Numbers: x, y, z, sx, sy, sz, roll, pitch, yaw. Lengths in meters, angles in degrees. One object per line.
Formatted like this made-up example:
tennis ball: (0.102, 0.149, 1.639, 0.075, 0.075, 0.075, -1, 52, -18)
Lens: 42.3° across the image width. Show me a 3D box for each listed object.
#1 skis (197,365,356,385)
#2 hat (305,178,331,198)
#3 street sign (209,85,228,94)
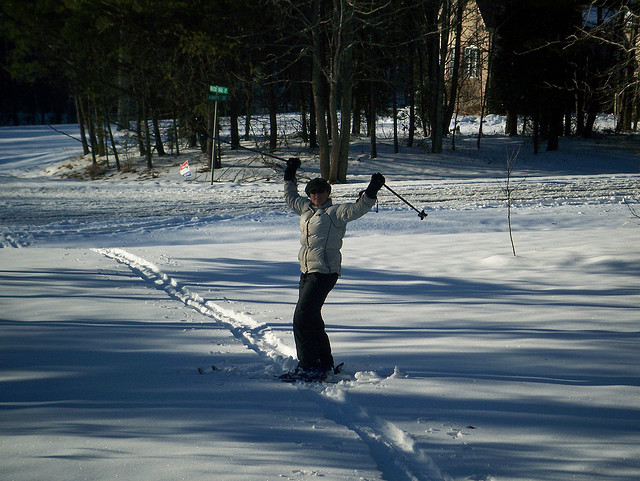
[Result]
skis: (-0.743, 2.225, 13.740, 2.426, 0.164, 0.254, 0, 17, 1)
hat: (-0.061, -0.886, 13.955, 0.417, 0.317, 0.242, 0, 11, -2)
street sign: (-3.179, -4.613, 25.640, 0.534, 0.229, 0.374, -2, 11, -11)
